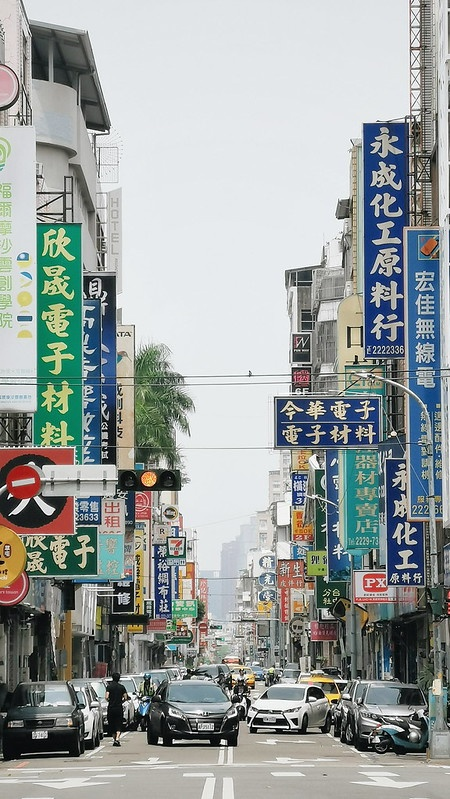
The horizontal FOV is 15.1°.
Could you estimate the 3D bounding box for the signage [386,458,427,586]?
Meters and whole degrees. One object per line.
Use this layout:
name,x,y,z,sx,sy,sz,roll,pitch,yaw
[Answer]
signage,4.124,2.679,38.125,0.788,3.144,0.094,-1,14,-1

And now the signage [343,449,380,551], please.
signage,4.111,2.996,48.536,1.139,3.655,0.407,-3,-47,6

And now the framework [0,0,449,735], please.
framework,-0.152,1.113,45.380,11.291,28.929,5.870,-1,2,-3

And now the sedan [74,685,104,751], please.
sedan,-2.599,6.073,32.462,0.573,0.705,1.452,-1,-16,0

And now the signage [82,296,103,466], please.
signage,-3.022,-0.541,39.299,0.450,3.887,1.245,0,-11,-5

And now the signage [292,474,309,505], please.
signage,4.326,4.998,94.100,0.238,3.054,1.465,0,3,27

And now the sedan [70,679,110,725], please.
sedan,-2.981,6.709,38.184,0.715,0.880,1.695,-1,-16,1

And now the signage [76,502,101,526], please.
signage,-3.090,2.579,38.997,0.597,0.701,0.478,-4,-12,8

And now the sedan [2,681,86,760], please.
sedan,-3.131,5.537,29.440,1.322,1.377,1.673,-4,-13,8

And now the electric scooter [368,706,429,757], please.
electric scooter,3.234,6.068,30.941,0.931,0.830,0.479,4,4,-5

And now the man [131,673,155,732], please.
man,-1.923,7.514,41.890,0.411,1.022,1.631,3,12,-4

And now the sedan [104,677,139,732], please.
sedan,-2.503,7.410,41.550,0.867,1.107,2.070,0,-15,2

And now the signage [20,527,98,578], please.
signage,-3.594,3.324,36.519,1.310,1.119,0.075,5,-16,-33

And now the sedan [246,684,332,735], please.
sedan,1.581,6.979,38.709,0.847,0.875,2.118,-4,-17,14

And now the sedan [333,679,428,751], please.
sedan,2.909,5.868,31.764,0.834,0.895,2.003,0,-14,-8

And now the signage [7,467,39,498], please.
signage,-3.217,1.330,27.361,0.392,0.505,0.136,-5,-6,33

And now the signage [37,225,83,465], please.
signage,-3.405,-1.338,35.132,0.946,0.627,6.030,2,-53,-3

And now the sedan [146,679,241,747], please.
sedan,-0.562,5.754,31.437,0.848,0.860,1.790,1,-16,-8
